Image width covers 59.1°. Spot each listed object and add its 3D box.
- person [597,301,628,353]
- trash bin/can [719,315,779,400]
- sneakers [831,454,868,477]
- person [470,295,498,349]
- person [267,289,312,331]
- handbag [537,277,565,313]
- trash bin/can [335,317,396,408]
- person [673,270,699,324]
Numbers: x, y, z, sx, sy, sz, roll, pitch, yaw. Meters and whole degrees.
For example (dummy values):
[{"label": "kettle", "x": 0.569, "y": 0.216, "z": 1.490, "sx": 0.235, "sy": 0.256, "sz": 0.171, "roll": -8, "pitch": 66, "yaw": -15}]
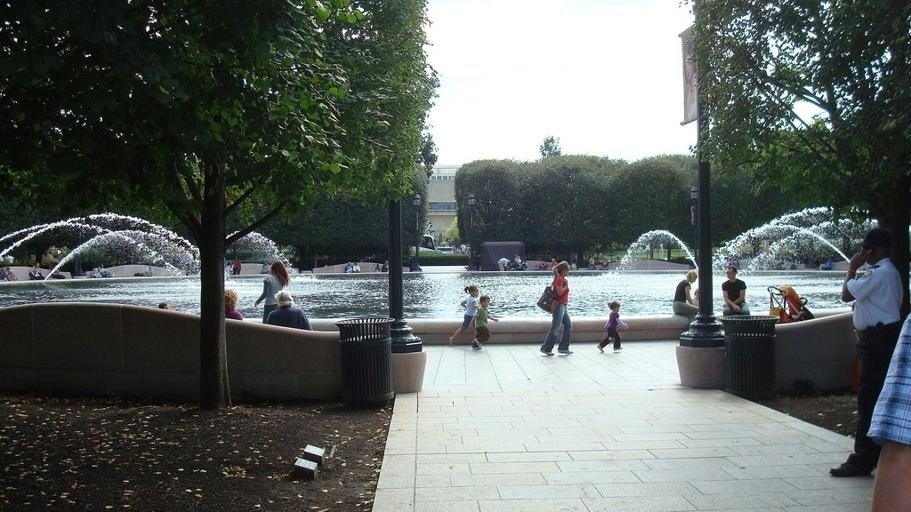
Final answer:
[{"label": "person", "x": 3.604, "y": 1.551, "z": 18.416, "sx": 0.559, "sy": 1.169, "sz": 1.213, "roll": 3, "pitch": 9, "yaw": 11}, {"label": "trash bin/can", "x": 5.054, "y": 1.780, "z": 14.383, "sx": 1.384, "sy": 1.590, "sz": 1.290, "roll": 0, "pitch": -3, "yaw": 0}, {"label": "sneakers", "x": 5.389, "y": 2.862, "z": 10.905, "sx": 0.645, "sy": 0.251, "sz": 0.211, "roll": 0, "pitch": -6, "yaw": -1}, {"label": "person", "x": 0.707, "y": 1.461, "z": 18.734, "sx": 0.554, "sy": 1.309, "sz": 1.118, "roll": 1, "pitch": 9, "yaw": 2}, {"label": "person", "x": -3.066, "y": 1.006, "z": 14.658, "sx": 0.724, "sy": 0.701, "sz": 0.654, "roll": 4, "pitch": 9, "yaw": 20}, {"label": "handbag", "x": 2.115, "y": 0.825, "z": 17.411, "sx": 0.565, "sy": 0.839, "sz": 0.338, "roll": 2, "pitch": 9, "yaw": 8}, {"label": "trash bin/can", "x": -1.344, "y": 1.803, "z": 14.091, "sx": 1.398, "sy": 1.593, "sz": 1.351, "roll": -1, "pitch": -4, "yaw": 8}, {"label": "person", "x": 5.485, "y": 0.877, "z": 19.158, "sx": 0.508, "sy": 1.228, "sz": 2.363, "roll": 3, "pitch": 9, "yaw": 15}]
